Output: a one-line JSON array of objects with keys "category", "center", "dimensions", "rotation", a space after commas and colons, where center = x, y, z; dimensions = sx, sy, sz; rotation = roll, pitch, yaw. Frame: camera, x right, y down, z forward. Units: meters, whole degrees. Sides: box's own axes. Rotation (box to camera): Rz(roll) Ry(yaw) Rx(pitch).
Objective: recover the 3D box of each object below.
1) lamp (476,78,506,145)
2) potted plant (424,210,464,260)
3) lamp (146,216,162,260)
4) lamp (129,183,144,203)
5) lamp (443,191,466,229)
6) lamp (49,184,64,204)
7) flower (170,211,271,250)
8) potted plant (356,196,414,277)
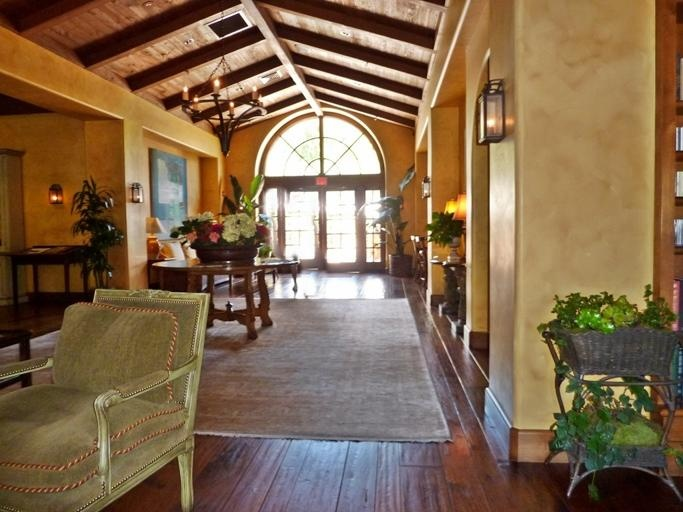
[{"category": "lamp", "center": [0.997, -0.966, 3.390], "dimensions": [0.176, 0.422, 0.290], "rotation": [2, 12, 12]}, {"category": "potted plant", "center": [1.252, -0.250, 6.176], "dimensions": [0.588, 0.542, 0.562], "rotation": [-1, 0, -2]}, {"category": "lamp", "center": [-2.995, -0.307, 8.232], "dimensions": [0.239, 0.657, 0.449], "rotation": [-5, 12, -20]}, {"category": "lamp", "center": [-3.085, -0.965, 7.759], "dimensions": [0.129, 0.331, 0.252], "rotation": [-1, 12, -4]}, {"category": "lamp", "center": [1.322, -0.504, 5.813], "dimensions": [0.312, 0.309, 0.500], "rotation": [1, 6, 10]}, {"category": "lamp", "center": [-4.347, -0.957, 7.842], "dimensions": [0.197, 0.328, 0.126], "rotation": [-2, 12, -7]}, {"category": "flower", "center": [-1.290, -0.271, 5.482], "dimensions": [0.605, 0.222, 0.584], "rotation": [3, 1, 15]}, {"category": "potted plant", "center": [0.936, -0.468, 11.075], "dimensions": [1.143, 1.744, 1.642], "rotation": [0, 11, 2]}]
